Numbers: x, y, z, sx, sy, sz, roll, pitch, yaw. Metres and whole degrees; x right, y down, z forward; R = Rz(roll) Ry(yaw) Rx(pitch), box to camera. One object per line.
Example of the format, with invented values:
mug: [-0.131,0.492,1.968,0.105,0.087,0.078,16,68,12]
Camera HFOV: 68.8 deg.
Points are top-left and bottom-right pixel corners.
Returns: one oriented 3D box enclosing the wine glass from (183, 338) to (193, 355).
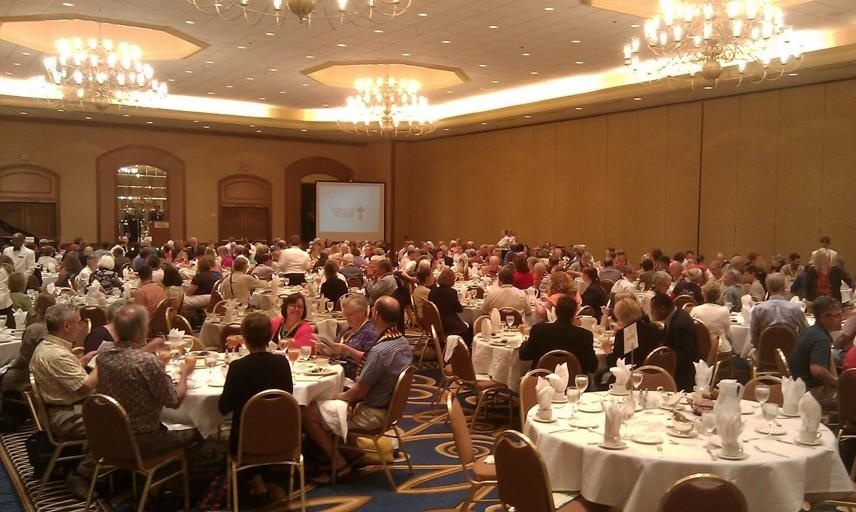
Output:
wine glass: [-3.168,1.208,8.338,0.167,0.165,0.165,2,7,5]

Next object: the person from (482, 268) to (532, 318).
person: [1.378,0.741,11.344,1.030,0.937,0.535,-3,17,-11]

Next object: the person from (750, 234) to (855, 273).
person: [9.456,-0.058,15.639,1.533,0.438,0.625,-19,26,-14]

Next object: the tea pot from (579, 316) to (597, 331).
tea pot: [2.430,1.024,9.524,0.238,0.199,0.183,-8,1,-3]

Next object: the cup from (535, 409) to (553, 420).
cup: [1.245,1.689,6.682,0.145,0.067,0.104,-2,-1,21]

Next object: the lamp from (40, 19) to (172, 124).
lamp: [-8.070,-4.710,16.004,1.893,1.298,1.976,-3,1,-7]

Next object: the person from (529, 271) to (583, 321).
person: [2.199,0.908,10.545,0.769,1.294,0.618,0,20,-2]

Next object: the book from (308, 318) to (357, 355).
book: [-1.311,1.113,8.743,0.550,0.224,0.719,-1,-13,10]

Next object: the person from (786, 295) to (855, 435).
person: [5.323,1.426,8.280,1.035,1.683,0.819,-2,17,19]

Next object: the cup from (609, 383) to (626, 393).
cup: [2.212,1.551,7.287,0.157,0.070,0.127,-5,-3,39]

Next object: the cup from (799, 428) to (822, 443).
cup: [3.802,1.800,6.272,0.144,0.127,0.184,0,-6,-10]

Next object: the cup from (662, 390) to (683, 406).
cup: [2.713,1.582,6.951,0.146,0.156,0.238,-1,-8,9]

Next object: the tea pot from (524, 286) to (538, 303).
tea pot: [1.966,0.742,11.858,0.253,0.323,0.352,-4,-11,0]
